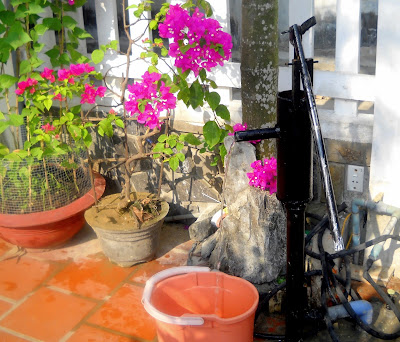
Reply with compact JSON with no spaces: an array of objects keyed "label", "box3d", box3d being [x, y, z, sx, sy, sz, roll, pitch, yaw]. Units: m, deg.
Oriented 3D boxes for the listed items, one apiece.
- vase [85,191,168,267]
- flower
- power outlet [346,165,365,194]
[{"label":"vase","box3d":[-0.633,0.551,3.046,0.667,0.522,0.707,-2,21,-11]},{"label":"flower","box3d":[-0.498,-0.679,2.836,1.705,1.616,1.010,2,15,17]},{"label":"power outlet","box3d":[1.134,0.048,2.438,0.147,0.292,0.029,9,28,32]}]
